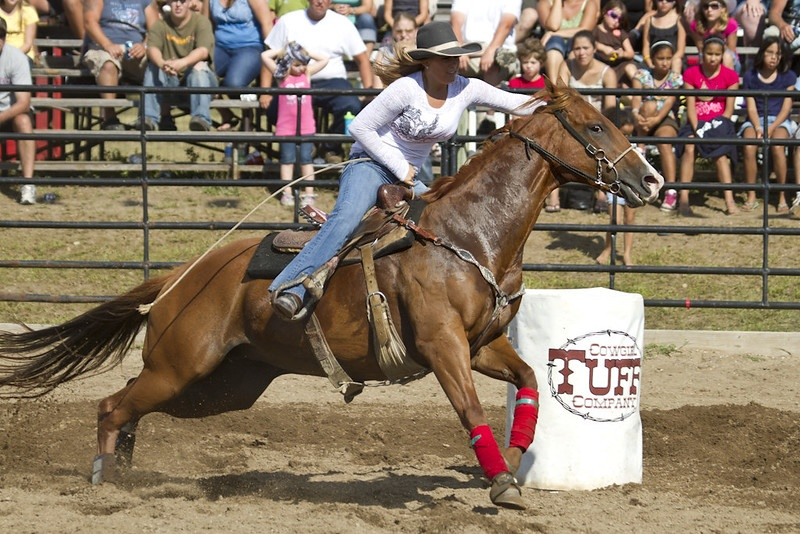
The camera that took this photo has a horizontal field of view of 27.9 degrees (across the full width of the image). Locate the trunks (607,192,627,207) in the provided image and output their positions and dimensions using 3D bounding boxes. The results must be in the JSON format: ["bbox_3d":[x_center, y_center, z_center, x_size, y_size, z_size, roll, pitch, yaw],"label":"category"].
[{"bbox_3d":[2.374,-0.719,17.427,0.265,0.094,0.188,24,13,40],"label":"trunks"}]

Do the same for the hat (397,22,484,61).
[{"bbox_3d":[0.355,-2.189,15.573,0.867,0.327,0.738,-1,15,37],"label":"hat"}]

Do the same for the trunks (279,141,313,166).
[{"bbox_3d":[-1.229,-1.341,19.252,0.335,0.326,0.195,2,11,17],"label":"trunks"}]

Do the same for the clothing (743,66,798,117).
[{"bbox_3d":[4.537,-2.119,19.650,0.803,0.737,0.453,1,-6,4],"label":"clothing"}]

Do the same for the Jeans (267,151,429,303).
[{"bbox_3d":[-0.589,-0.439,15.442,1.068,1.604,0.523,21,-11,-12],"label":"Jeans"}]

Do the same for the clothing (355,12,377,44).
[{"bbox_3d":[-0.455,-3.180,21.803,0.158,0.380,0.391,2,-12,-41],"label":"clothing"}]

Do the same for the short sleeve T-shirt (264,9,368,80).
[{"bbox_3d":[-1.089,-2.804,20.442,1.710,1.181,0.779,0,2,-4],"label":"short sleeve T-shirt"}]

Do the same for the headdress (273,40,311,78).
[{"bbox_3d":[-1.305,-2.498,19.685,0.351,0.458,0.244,43,16,-1],"label":"headdress"}]

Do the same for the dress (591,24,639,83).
[{"bbox_3d":[2.797,-2.736,20.847,0.372,0.898,0.439,-10,-26,-2],"label":"dress"}]

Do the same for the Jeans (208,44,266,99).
[{"bbox_3d":[-2.093,-2.553,20.697,0.692,0.688,0.230,2,-10,32],"label":"Jeans"}]

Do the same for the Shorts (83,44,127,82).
[{"bbox_3d":[-3.831,-2.643,20.786,0.494,0.392,0.196,0,-22,-8],"label":"Shorts"}]

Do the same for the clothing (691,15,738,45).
[{"bbox_3d":[4.094,-3.069,20.893,0.623,0.588,0.384,1,-4,3],"label":"clothing"}]

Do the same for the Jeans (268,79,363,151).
[{"bbox_3d":[-1.010,-1.800,19.128,1.444,1.007,0.352,4,11,1],"label":"Jeans"}]

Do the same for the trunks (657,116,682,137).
[{"bbox_3d":[3.397,-1.732,20.051,0.351,0.262,0.224,-8,-6,41],"label":"trunks"}]

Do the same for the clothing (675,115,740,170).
[{"bbox_3d":[3.880,-1.525,19.864,0.618,0.609,0.275,1,14,12],"label":"clothing"}]
